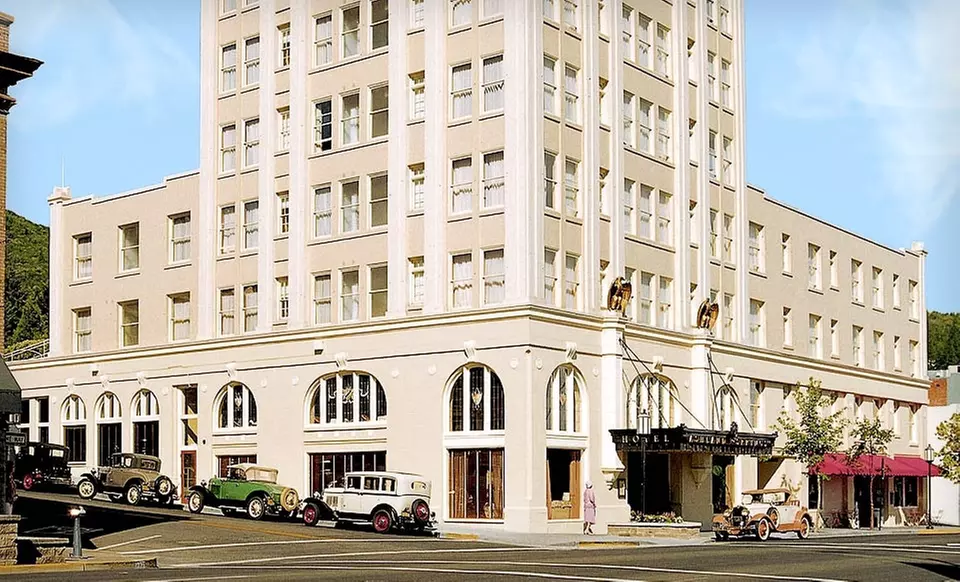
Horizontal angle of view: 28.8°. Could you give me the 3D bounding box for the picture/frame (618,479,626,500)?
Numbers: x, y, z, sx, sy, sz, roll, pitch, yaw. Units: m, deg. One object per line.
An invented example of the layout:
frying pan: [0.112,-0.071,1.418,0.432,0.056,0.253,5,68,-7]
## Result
picture/frame: [8.912,12.185,116.168,0.163,1.265,0.844,-15,-21,40]

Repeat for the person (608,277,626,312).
person: [8.614,0.199,116.080,1.264,1.921,0.465,5,10,-42]

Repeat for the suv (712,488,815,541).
suv: [17.050,13.448,112.963,6.547,3.321,2.098,10,-19,-35]

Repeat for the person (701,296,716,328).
person: [15.054,1.501,122.302,0.425,1.773,1.140,11,0,43]
